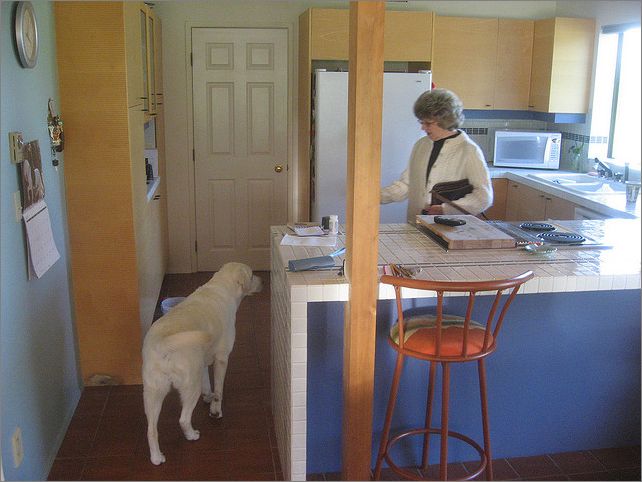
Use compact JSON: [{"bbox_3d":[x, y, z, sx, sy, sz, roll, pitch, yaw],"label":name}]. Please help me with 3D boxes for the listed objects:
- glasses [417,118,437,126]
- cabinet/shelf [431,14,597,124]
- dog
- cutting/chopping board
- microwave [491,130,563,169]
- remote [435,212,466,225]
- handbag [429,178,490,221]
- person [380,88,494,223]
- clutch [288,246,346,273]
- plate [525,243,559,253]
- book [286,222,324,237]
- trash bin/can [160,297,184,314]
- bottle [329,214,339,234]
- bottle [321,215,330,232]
[{"bbox_3d":[0.755,-0.821,3.788,0.124,0.038,0.123,2,14,-7],"label":"glasses"},{"bbox_3d":[2.102,-1.889,6.021,1.937,1.253,0.978,0,14,0],"label":"cabinet/shelf"},{"bbox_3d":[-0.691,0.614,3.234,0.527,0.767,1.240,4,26,13],"label":"dog"},{"bbox_3d":[0.837,-0.063,3.177,0.432,0.103,0.562,-2,15,-6],"label":"cutting/chopping board"},{"bbox_3d":[2.282,-0.965,5.898,0.688,0.446,0.437,4,14,12],"label":"microwave"},{"bbox_3d":[0.760,-0.118,3.183,0.143,0.038,0.071,6,17,15],"label":"remote"},{"bbox_3d":[0.936,-0.316,3.785,0.384,0.162,0.281,6,24,-21],"label":"handbag"},{"bbox_3d":[0.837,-0.579,3.842,0.777,0.939,0.359,4,17,17],"label":"person"},{"bbox_3d":[-0.007,0.109,2.650,0.256,0.038,0.124,-6,35,-7],"label":"clutch"},{"bbox_3d":[1.187,0.046,2.890,0.146,0.040,0.113,0,15,4],"label":"plate"},{"bbox_3d":[-0.078,-0.063,3.260,0.199,0.034,0.269,-7,16,-23],"label":"book"},{"bbox_3d":[-1.247,0.525,4.445,0.209,0.105,0.241,1,10,-7],"label":"trash bin/can"},{"bbox_3d":[0.076,-0.086,3.222,0.054,0.098,0.103,0,16,3],"label":"bottle"},{"bbox_3d":[0.025,-0.109,3.301,0.061,0.077,0.112,-1,15,-4],"label":"bottle"}]
